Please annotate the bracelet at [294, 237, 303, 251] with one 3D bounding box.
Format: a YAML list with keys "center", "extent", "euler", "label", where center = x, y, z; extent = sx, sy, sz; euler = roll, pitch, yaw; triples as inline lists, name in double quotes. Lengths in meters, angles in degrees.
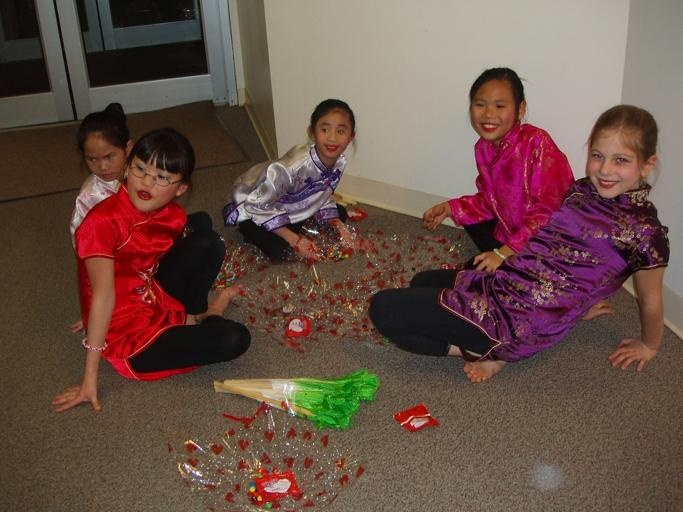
- center: [-0.199, -0.050, 2.479]
  extent: [0.012, 0.042, 0.043]
  euler: [8, -20, -17]
  label: "bracelet"

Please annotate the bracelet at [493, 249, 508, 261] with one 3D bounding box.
- center: [0.609, -0.007, 2.118]
  extent: [0.048, 0.012, 0.036]
  euler: [40, 45, 16]
  label: "bracelet"

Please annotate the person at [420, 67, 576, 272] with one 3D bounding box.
- center: [0.628, -0.372, 2.219]
  extent: [0.590, 0.764, 0.529]
  euler: [-17, 22, -15]
  label: "person"

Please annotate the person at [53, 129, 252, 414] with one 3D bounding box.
- center: [-0.705, 0.095, 2.049]
  extent: [0.549, 0.743, 0.929]
  euler: [6, 37, -12]
  label: "person"

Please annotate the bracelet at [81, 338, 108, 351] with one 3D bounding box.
- center: [-0.807, 0.295, 1.789]
  extent: [0.063, 0.017, 0.064]
  euler: [6, 3, 44]
  label: "bracelet"
